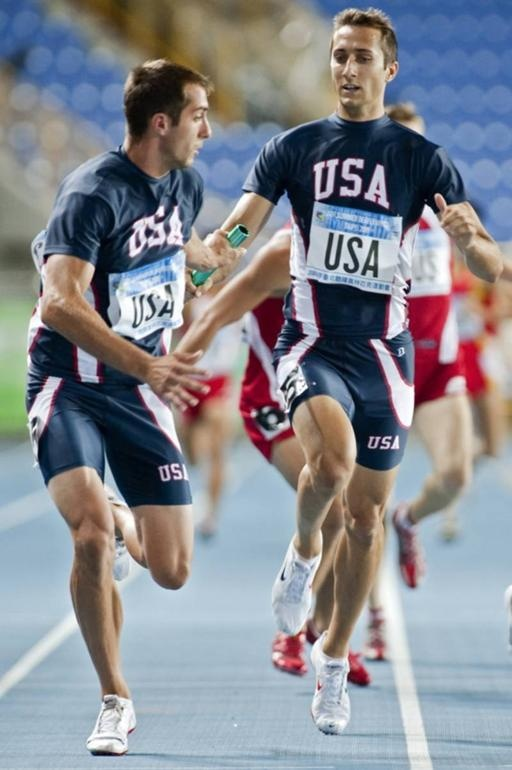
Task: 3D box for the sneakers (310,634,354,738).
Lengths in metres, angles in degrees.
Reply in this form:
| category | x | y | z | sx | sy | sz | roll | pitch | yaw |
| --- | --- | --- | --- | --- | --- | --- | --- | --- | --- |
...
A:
| category | x | y | z | sx | sy | sz | roll | pitch | yaw |
| --- | --- | --- | --- | --- | --- | --- | --- | --- | --- |
| sneakers | 0.203 | 0.856 | 2.424 | 0.100 | 0.252 | 0.116 | -1 | -20 | -5 |

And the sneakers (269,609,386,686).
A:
| category | x | y | z | sx | sy | sz | roll | pitch | yaw |
| --- | --- | --- | --- | --- | --- | --- | --- | --- | --- |
| sneakers | 0.225 | 0.981 | 3.175 | 0.452 | 0.176 | 0.149 | 24 | 49 | 28 |

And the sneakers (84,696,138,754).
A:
| category | x | y | z | sx | sy | sz | roll | pitch | yaw |
| --- | --- | --- | --- | --- | --- | --- | --- | --- | --- |
| sneakers | -0.355 | 0.837 | 2.153 | 0.080 | 0.083 | 0.202 | 1 | 11 | 6 |

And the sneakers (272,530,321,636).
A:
| category | x | y | z | sx | sy | sz | roll | pitch | yaw |
| --- | --- | --- | --- | --- | --- | --- | --- | --- | --- |
| sneakers | 0.117 | 0.624 | 2.684 | 0.130 | 0.312 | 0.135 | 15 | 17 | 1 |

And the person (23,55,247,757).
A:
| category | x | y | z | sx | sy | sz | roll | pitch | yaw |
| --- | --- | --- | --- | --- | --- | --- | --- | --- | --- |
| person | -0.406 | 0.009 | 2.408 | 0.565 | 1.780 | 1.172 | 4 | 20 | 3 |
